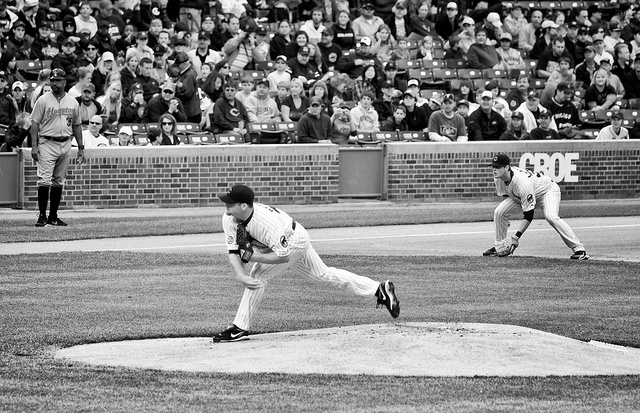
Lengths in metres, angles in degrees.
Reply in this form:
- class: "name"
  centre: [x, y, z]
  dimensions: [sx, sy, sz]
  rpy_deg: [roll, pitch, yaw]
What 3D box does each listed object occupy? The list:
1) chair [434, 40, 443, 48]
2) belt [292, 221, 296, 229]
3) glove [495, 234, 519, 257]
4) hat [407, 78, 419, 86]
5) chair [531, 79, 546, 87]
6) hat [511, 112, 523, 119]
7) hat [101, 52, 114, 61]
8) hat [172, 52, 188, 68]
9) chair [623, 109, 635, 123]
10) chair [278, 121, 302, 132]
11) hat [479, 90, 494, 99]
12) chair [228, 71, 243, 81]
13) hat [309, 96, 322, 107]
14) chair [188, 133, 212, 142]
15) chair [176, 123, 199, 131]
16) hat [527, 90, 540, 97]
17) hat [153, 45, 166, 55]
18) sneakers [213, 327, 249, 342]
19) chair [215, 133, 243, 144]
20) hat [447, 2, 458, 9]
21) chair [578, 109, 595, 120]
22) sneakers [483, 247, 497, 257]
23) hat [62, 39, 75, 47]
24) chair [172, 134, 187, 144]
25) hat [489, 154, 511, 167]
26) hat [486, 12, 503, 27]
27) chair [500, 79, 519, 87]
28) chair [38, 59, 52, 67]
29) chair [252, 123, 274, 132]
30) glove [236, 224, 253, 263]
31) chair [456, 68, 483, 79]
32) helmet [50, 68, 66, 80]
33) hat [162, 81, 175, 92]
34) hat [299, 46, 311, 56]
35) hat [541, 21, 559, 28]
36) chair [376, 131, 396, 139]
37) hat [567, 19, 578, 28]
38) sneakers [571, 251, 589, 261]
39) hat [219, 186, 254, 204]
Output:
- class: "chair"
  centre: [3.408, -4.766, 42.525]
  dimensions: [0.244, 0.185, 0.245]
  rpy_deg: [-2, 4, -12]
- class: "belt"
  centre: [-0.478, 0.325, 26.301]
  dimensions: [0.034, 0.127, 0.089]
  rpy_deg: [3, 7, -6]
- class: "glove"
  centre: [3.958, 0.815, 31.131]
  dimensions: [0.555, 0.459, 0.302]
  rpy_deg: [1, 5, 27]
- class: "hat"
  centre: [2.482, -3.360, 39.417]
  dimensions: [0.297, 0.169, 0.469]
  rpy_deg: [-1, 2, 7]
- class: "chair"
  centre: [6.085, -3.485, 41.139]
  dimensions: [0.310, 0.123, 0.237]
  rpy_deg: [-5, 12, -6]
- class: "hat"
  centre: [5.071, -2.372, 37.828]
  dimensions: [0.304, 0.184, 0.372]
  rpy_deg: [0, 5, 8]
- class: "hat"
  centre: [-5.418, -3.830, 37.207]
  dimensions: [0.303, 0.214, 0.451]
  rpy_deg: [-2, 5, -11]
- class: "hat"
  centre: [-3.567, -3.782, 37.374]
  dimensions: [0.393, 0.210, 0.295]
  rpy_deg: [23, 55, 16]
- class: "chair"
  centre: [8.445, -2.519, 39.914]
  dimensions: [0.399, 0.477, 0.398]
  rpy_deg: [0, 1, 6]
- class: "chair"
  centre: [-0.833, -2.044, 37.064]
  dimensions: [0.527, 0.241, 0.240]
  rpy_deg: [-4, 6, -32]
- class: "hat"
  centre: [4.246, -2.900, 37.734]
  dimensions: [0.288, 0.139, 0.418]
  rpy_deg: [2, 0, 14]
- class: "chair"
  centre: [-2.257, -3.509, 38.916]
  dimensions: [0.465, 0.220, 0.333]
  rpy_deg: [-3, 5, -24]
- class: "hat"
  centre: [-0.118, -2.633, 36.514]
  dimensions: [0.294, 0.207, 0.414]
  rpy_deg: [2, 0, 8]
- class: "chair"
  centre: [-2.952, -1.703, 36.154]
  dimensions: [0.628, 0.220, 0.156]
  rpy_deg: [-1, 5, -3]
- class: "chair"
  centre: [-3.288, -2.003, 36.370]
  dimensions: [0.522, 0.238, 0.175]
  rpy_deg: [-1, 5, -4]
- class: "hat"
  centre: [5.608, -3.009, 38.641]
  dimensions: [0.331, 0.200, 0.520]
  rpy_deg: [7, 7, 23]
- class: "hat"
  centre: [-4.121, -4.050, 37.528]
  dimensions: [0.251, 0.233, 0.476]
  rpy_deg: [-1, 5, 1]
- class: "sneakers"
  centre: [-1.596, 2.287, 26.168]
  dimensions: [0.599, 0.261, 0.263]
  rpy_deg: [2, 3, -13]
- class: "chair"
  centre: [-2.269, -1.702, 36.367]
  dimensions: [0.706, 0.225, 0.376]
  rpy_deg: [-2, 5, -6]
- class: "hat"
  centre: [3.899, -5.990, 43.379]
  dimensions: [0.210, 0.166, 0.218]
  rpy_deg: [0, 4, -18]
- class: "chair"
  centre: [7.159, -2.466, 39.418]
  dimensions: [0.522, 0.272, 0.252]
  rpy_deg: [-4, 6, -29]
- class: "sneakers"
  centre: [3.614, 0.959, 31.266]
  dimensions: [0.358, 0.158, 0.124]
  rpy_deg: [1, 3, 2]
- class: "hat"
  centre: [-6.509, -4.247, 37.881]
  dimensions: [0.290, 0.200, 0.310]
  rpy_deg: [-2, 5, -10]
- class: "chair"
  centre: [-3.458, -1.672, 36.141]
  dimensions: [0.252, 0.245, 0.166]
  rpy_deg: [16, -16, -42]
- class: "hat"
  centre: [3.781, -0.977, 30.909]
  dimensions: [0.359, 0.269, 0.314]
  rpy_deg: [-1, 5, 1]
- class: "hat"
  centre: [5.122, -5.509, 43.233]
  dimensions: [0.350, 0.256, 0.464]
  rpy_deg: [-26, 54, -17]
- class: "chair"
  centre: [5.184, -3.435, 40.601]
  dimensions: [0.536, 0.231, 0.329]
  rpy_deg: [-2, 5, -8]
- class: "chair"
  centre: [-7.168, -3.734, 38.018]
  dimensions: [0.401, 0.215, 0.380]
  rpy_deg: [-2, 5, -12]
- class: "chair"
  centre: [-1.460, -2.021, 36.852]
  dimensions: [0.649, 0.207, 0.173]
  rpy_deg: [-4, 6, -31]
- class: "glove"
  centre: [-1.374, 0.659, 26.034]
  dimensions: [0.180, 0.616, 0.357]
  rpy_deg: [-6, -22, -22]
- class: "chair"
  centre: [4.137, -3.696, 40.601]
  dimensions: [0.682, 0.270, 0.515]
  rpy_deg: [-1, 5, 1]
- class: "helmet"
  centre: [-5.780, -2.936, 32.338]
  dimensions: [0.287, 0.224, 0.399]
  rpy_deg: [3, 6, 40]
- class: "hat"
  centre: [-3.753, -2.963, 35.956]
  dimensions: [0.317, 0.263, 0.304]
  rpy_deg: [-1, 5, 1]
- class: "hat"
  centre: [-0.413, -4.164, 39.140]
  dimensions: [0.316, 0.221, 0.250]
  rpy_deg: [-3, 5, -23]
- class: "hat"
  centre: [6.678, -5.329, 42.699]
  dimensions: [0.376, 0.141, 0.247]
  rpy_deg: [-4, 17, -2]
- class: "chair"
  centre: [1.685, -1.816, 37.303]
  dimensions: [0.643, 0.221, 0.172]
  rpy_deg: [-5, 6, -36]
- class: "hat"
  centre: [7.433, -5.434, 43.231]
  dimensions: [0.368, 0.180, 0.563]
  rpy_deg: [3, 7, 5]
- class: "sneakers"
  centre: [5.489, 1.027, 31.059]
  dimensions: [0.311, 0.193, 0.184]
  rpy_deg: [3, 2, -1]
- class: "hat"
  centre: [-1.451, -0.210, 25.978]
  dimensions: [0.470, 0.282, 0.331]
  rpy_deg: [12, 10, -5]
